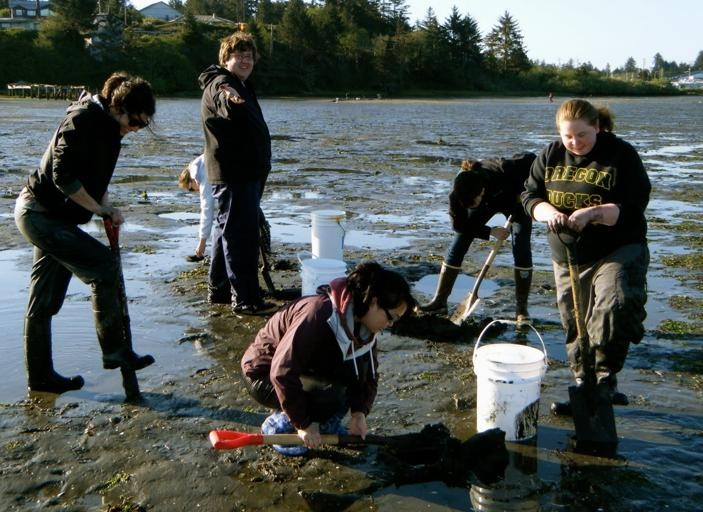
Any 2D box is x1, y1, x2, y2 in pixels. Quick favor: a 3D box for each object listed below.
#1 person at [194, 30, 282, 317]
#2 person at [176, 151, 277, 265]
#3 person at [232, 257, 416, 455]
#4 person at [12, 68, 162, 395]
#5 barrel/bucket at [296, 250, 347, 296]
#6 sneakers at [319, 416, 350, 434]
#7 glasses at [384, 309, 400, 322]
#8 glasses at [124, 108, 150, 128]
[{"bbox_3d":[-1.068,-0.757,6.930,0.651,2.594,0.807,-1,13,-11],"label":"person"},{"bbox_3d":[-1.322,-0.457,7.838,0.724,0.545,1.698,-25,32,-14],"label":"person"},{"bbox_3d":[-0.181,0.700,5.076,1.182,1.152,0.877,2,-1,34],"label":"person"},{"bbox_3d":[-1.956,-0.150,5.515,1.018,2.387,0.515,-2,13,-14],"label":"person"},{"bbox_3d":[-0.286,0.155,6.947,0.420,0.378,0.395,1,6,0],"label":"barrel/bucket"},{"bbox_3d":[-0.122,1.179,5.162,0.149,0.140,0.155,0,7,9],"label":"sneakers"},{"bbox_3d":[0.247,0.367,4.802,0.082,0.052,0.098,4,30,-32],"label":"glasses"},{"bbox_3d":[-1.581,-1.010,5.462,0.120,0.108,0.035,1,-22,-40],"label":"glasses"}]
